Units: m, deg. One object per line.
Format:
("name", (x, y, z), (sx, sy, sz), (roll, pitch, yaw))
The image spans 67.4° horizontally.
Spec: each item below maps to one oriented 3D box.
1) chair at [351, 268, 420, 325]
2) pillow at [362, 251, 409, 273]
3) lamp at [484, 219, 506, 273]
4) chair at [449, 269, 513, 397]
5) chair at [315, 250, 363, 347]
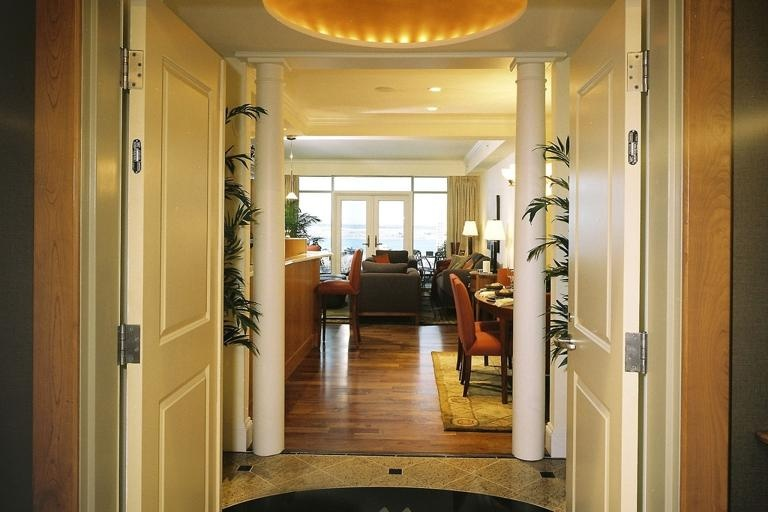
("chair", (0.097, 0.560, 8.106), (0.733, 0.564, 0.740), (1, 1, 2))
("pillow", (0.033, 0.119, 10.798), (0.486, 0.423, 0.492), (2, 9, 7))
("lamp", (1.648, -0.142, 8.703), (0.363, 0.778, 0.372), (-4, 5, -35))
("chair", (0.858, 0.682, 5.088), (0.499, 1.084, 0.791), (1, 5, 12))
("chair", (-0.526, 0.480, 6.773), (0.604, 1.140, 0.527), (2, -4, -20))
